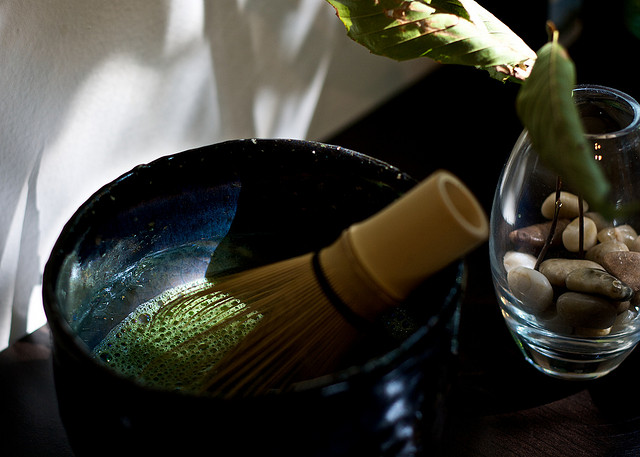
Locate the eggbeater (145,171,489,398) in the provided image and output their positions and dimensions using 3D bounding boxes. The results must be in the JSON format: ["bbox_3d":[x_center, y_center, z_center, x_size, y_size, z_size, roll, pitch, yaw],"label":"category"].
[{"bbox_3d":[-0.016,0.042,0.375,0.228,0.130,0.143,10,46,13],"label":"eggbeater"}]

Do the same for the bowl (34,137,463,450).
[{"bbox_3d":[-0.028,0.092,0.473,0.289,0.184,0.259,-24,55,-27],"label":"bowl"}]
